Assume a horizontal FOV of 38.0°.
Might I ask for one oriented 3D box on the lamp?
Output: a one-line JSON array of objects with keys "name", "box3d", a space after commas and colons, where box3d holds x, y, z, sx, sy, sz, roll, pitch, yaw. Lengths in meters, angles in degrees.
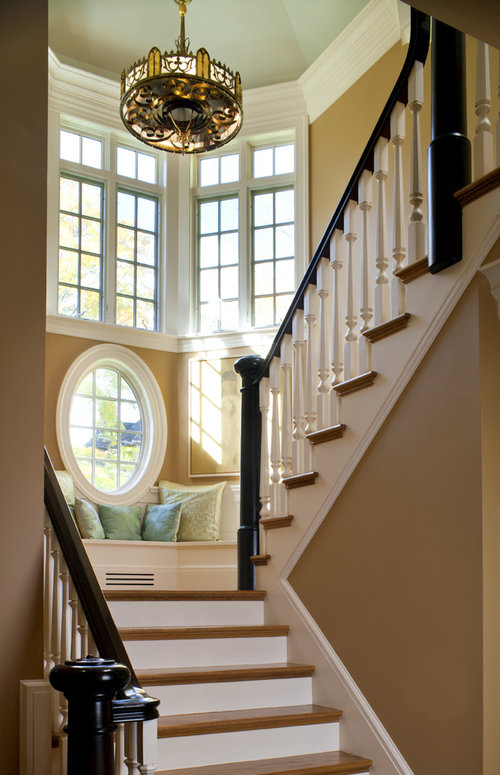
[{"name": "lamp", "box3d": [-0.396, -1.974, 4.205, 0.702, 0.992, 0.753, 1, -5, -8]}]
